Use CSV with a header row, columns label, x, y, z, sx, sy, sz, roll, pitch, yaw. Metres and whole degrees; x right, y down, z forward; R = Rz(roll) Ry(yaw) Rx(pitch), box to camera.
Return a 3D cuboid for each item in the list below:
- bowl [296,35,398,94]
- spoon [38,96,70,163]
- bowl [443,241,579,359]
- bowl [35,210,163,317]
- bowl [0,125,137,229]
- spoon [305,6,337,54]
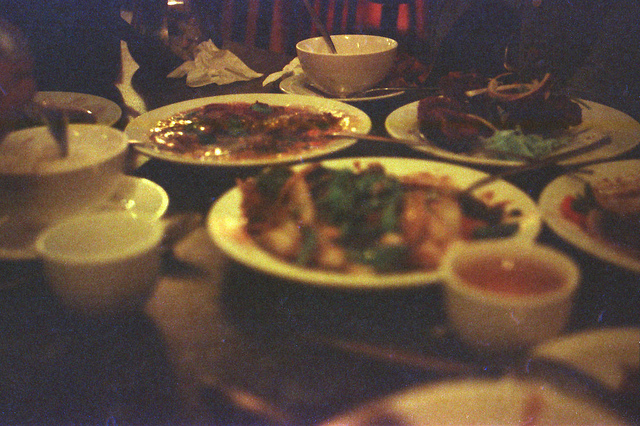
label,x,y,z,sx,sy,sz,roll,pitch,yaw
bowl,0.066,-0.319,1.194,0.172,0.075,0.161,-2,19,1
spoon,-0.556,-0.178,1.173,0.042,0.092,0.097,-17,43,-23
bowl,0.412,0.176,1.289,0.199,0.224,0.306,-6,20,-6
bowl,-0.457,0.105,1.244,0.234,0.137,0.247,4,30,-2
bowl,-0.519,-0.081,1.193,0.227,0.108,0.228,1,21,0
spoon,0.002,-0.403,1.208,0.019,0.140,0.017,-23,31,23
